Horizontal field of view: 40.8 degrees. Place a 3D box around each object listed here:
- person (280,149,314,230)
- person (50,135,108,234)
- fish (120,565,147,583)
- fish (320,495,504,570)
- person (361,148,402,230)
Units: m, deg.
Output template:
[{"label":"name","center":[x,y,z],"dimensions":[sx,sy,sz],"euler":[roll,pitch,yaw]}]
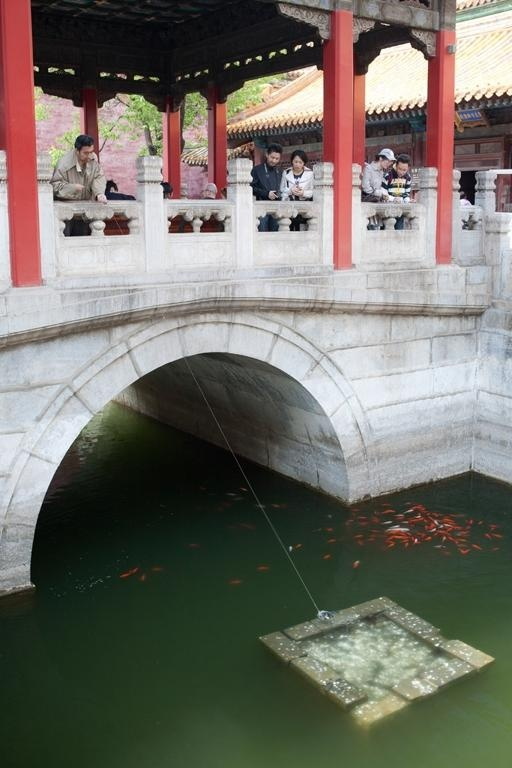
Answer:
[{"label":"person","center":[0.414,-1.973,7.005],"dimensions":[0.319,0.802,0.865],"euler":[0,12,3]},{"label":"person","center":[-1.408,-1.519,5.511],"dimensions":[0.492,0.878,0.399],"euler":[22,35,22]},{"label":"fish","center":[-1.082,1.656,5.985],"dimensions":[0.221,0.032,0.236],"euler":[-3,13,-13]},{"label":"fish","center":[1.558,1.451,6.818],"dimensions":[1.113,0.196,0.676],"euler":[-5,16,-21]},{"label":"person","center":[1.351,-2.295,7.620],"dimensions":[0.350,0.586,0.709],"euler":[2,13,11]}]
